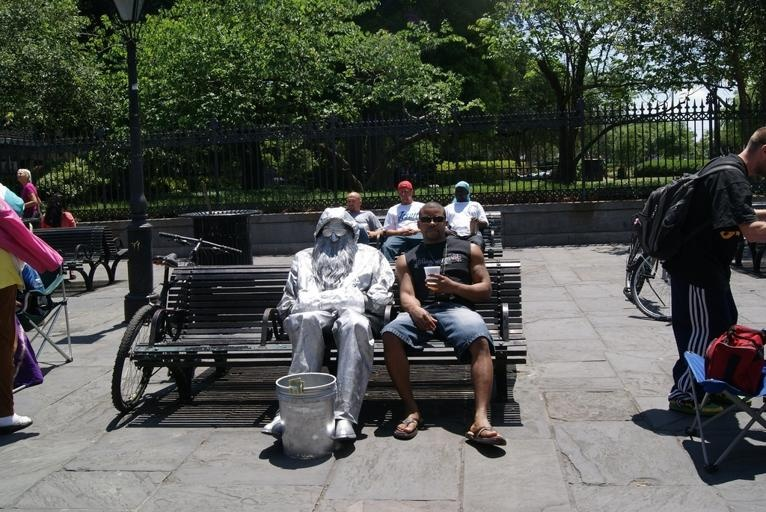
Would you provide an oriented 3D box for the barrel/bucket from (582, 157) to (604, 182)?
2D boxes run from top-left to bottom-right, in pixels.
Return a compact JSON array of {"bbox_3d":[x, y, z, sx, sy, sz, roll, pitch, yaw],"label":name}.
[{"bbox_3d":[4.962,-2.038,20.252,0.545,0.569,0.546,0,6,0],"label":"barrel/bucket"}]

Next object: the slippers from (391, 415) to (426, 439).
[{"bbox_3d":[0.299,1.835,9.265,0.377,0.219,0.186,-11,13,-42],"label":"slippers"}]

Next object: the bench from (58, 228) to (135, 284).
[{"bbox_3d":[-5.645,0.040,16.846,0.939,0.928,1.450,7,-8,-32],"label":"bench"}]

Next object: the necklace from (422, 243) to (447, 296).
[{"bbox_3d":[0.619,0.138,9.732,0.274,0.486,0.134,4,4,38],"label":"necklace"}]

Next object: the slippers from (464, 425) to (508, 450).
[{"bbox_3d":[1.059,1.914,8.973,0.384,0.141,0.197,-4,-4,42],"label":"slippers"}]

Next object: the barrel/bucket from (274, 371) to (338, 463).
[{"bbox_3d":[-0.781,1.685,8.932,0.751,0.806,0.806,-1,-1,0],"label":"barrel/bucket"}]
